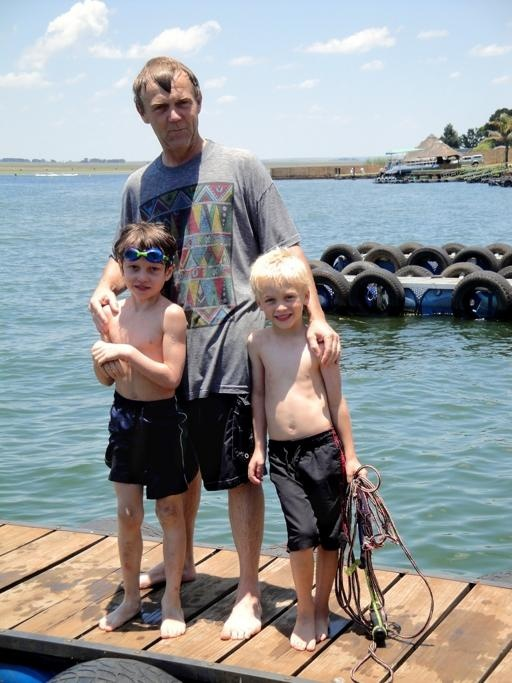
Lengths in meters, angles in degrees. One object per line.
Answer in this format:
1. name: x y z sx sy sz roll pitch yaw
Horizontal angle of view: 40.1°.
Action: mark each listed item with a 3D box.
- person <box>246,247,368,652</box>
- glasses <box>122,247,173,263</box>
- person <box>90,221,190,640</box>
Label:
1. person: 0.181 0.372 2.791 0.361 1.511 0.447 0 -1 -36
2. glasses: -0.436 -0.338 2.782 0.186 0.061 0.097 0 -1 -7
3. person: -0.468 0.330 2.833 0.369 1.628 0.321 0 0 -6
